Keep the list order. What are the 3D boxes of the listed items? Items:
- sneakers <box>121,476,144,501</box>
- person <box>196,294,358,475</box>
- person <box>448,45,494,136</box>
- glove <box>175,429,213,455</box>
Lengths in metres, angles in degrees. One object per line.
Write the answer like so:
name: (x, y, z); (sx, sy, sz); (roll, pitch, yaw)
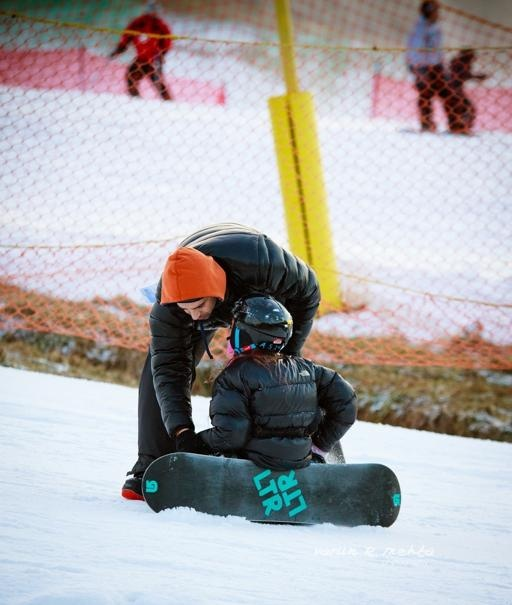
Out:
sneakers: (-0.525, 0.798, 3.467); (0.059, 0.052, 0.141); (4, 9, 19)
person: (0.155, 0.365, 3.536); (0.686, 0.750, 0.376); (11, 8, -10)
person: (1.761, -1.745, 6.653); (0.530, 0.670, 0.201); (2, 15, 2)
glove: (-0.284, 0.612, 3.484); (0.169, 0.084, 0.066); (27, -13, 10)
